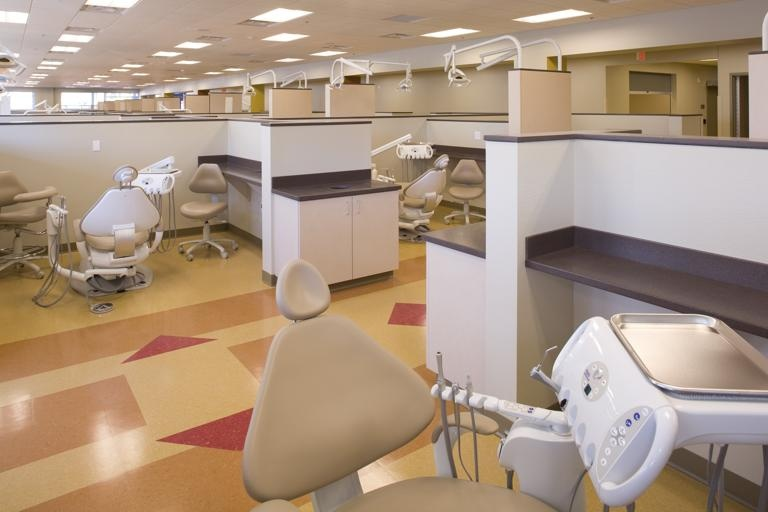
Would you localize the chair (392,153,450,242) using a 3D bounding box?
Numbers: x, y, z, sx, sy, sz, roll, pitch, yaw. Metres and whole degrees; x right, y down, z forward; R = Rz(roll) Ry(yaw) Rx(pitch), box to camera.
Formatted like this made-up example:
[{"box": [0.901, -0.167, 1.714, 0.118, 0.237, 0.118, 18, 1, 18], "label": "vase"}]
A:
[{"box": [0.507, -0.765, 6.719, 0.618, 1.136, 0.690, 0, 14, 1], "label": "chair"}]

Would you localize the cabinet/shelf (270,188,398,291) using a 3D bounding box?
[{"box": [-0.471, -0.218, 5.336, 1.603, 1.201, 0.895, -6, 9, -39], "label": "cabinet/shelf"}]
